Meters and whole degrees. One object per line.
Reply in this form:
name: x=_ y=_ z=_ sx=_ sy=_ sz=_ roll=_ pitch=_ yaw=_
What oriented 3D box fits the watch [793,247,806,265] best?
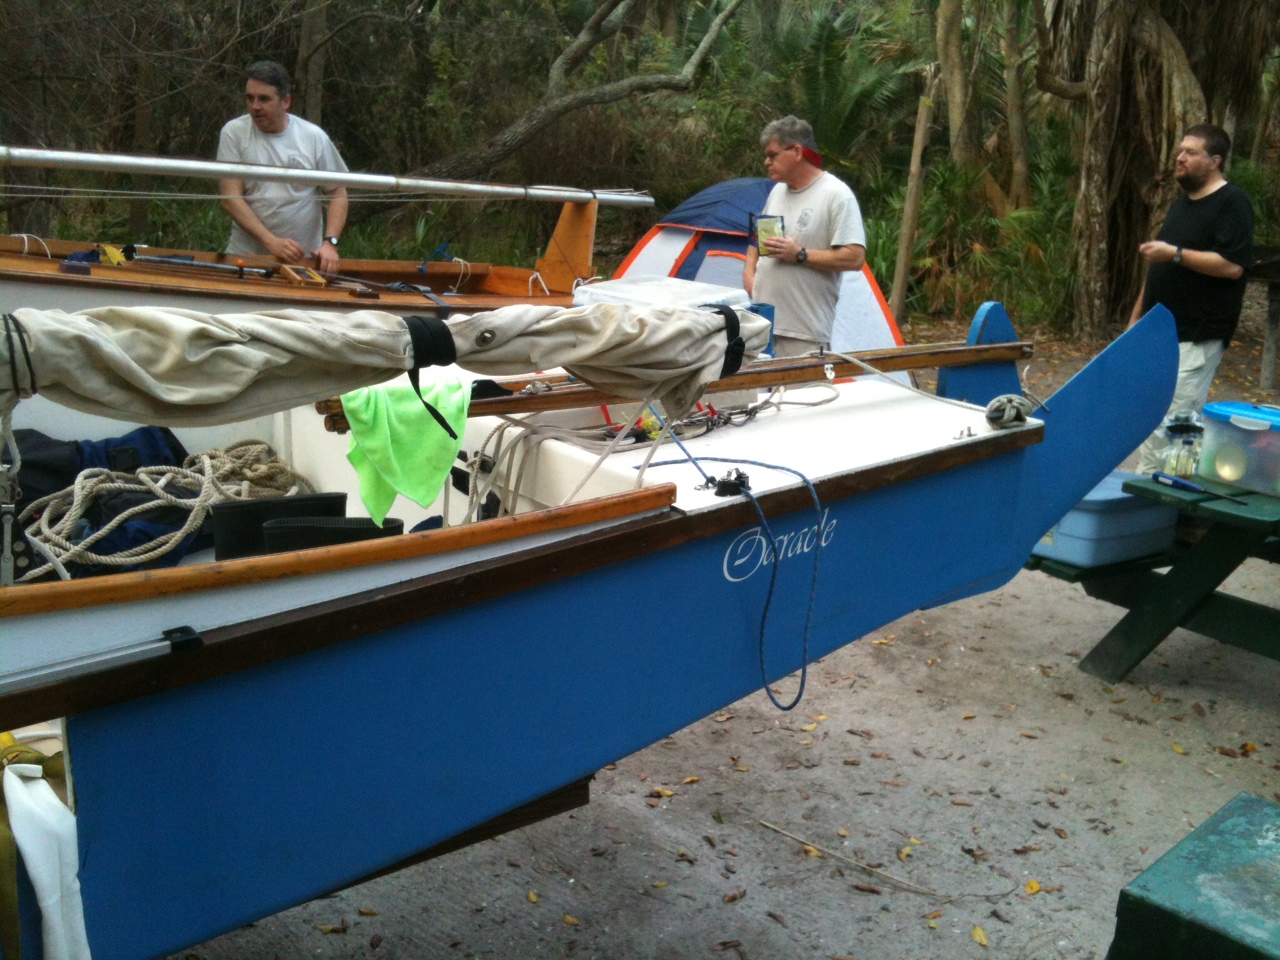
watch: x=0.713 y=-0.996 z=5.257 sx=0.046 sy=0.070 sz=0.060 roll=-4 pitch=13 yaw=-5

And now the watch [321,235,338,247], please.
watch: x=-1.580 y=-1.204 z=5.904 sx=0.077 sy=0.053 sz=0.082 roll=-5 pitch=-4 yaw=23

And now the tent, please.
tent: x=1.125 y=-1.465 z=8.028 sx=1.853 sy=1.470 sz=1.814 roll=-2 pitch=12 yaw=-38

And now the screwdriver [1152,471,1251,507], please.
screwdriver: x=2.154 y=0.035 z=4.476 sx=0.249 sy=0.046 sz=0.036 roll=24 pitch=-13 yaw=33
